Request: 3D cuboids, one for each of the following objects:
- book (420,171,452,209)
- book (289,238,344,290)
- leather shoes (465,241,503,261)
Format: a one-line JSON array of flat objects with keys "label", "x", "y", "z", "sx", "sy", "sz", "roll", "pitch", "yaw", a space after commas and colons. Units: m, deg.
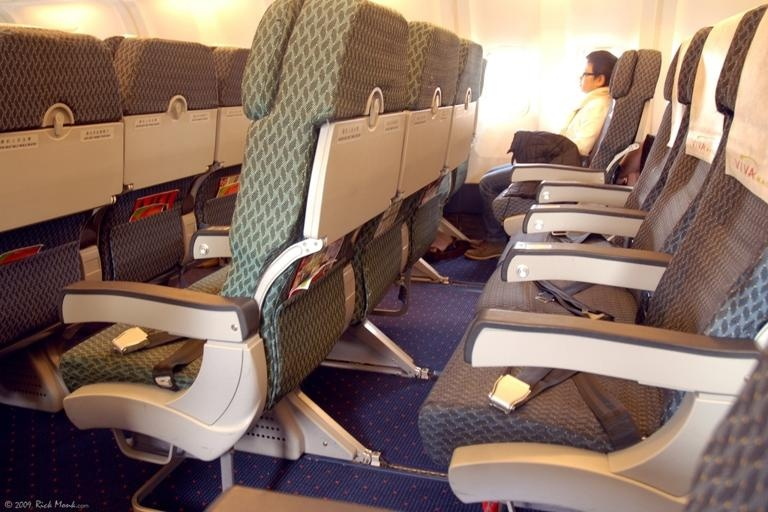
[{"label": "book", "x": 0.256, "y": -0.332, "z": 2.564, "sx": 0.032, "sy": 0.106, "sz": 0.265, "roll": 32, "pitch": 27, "yaw": 14}, {"label": "book", "x": -0.187, "y": 0.016, "z": 1.518, "sx": 0.089, "sy": 0.063, "sz": 0.263, "roll": -38, "pitch": 1, "yaw": 16}, {"label": "leather shoes", "x": 0.759, "y": -0.041, "z": 3.906, "sx": 0.336, "sy": 0.160, "sz": 0.128, "roll": -1, "pitch": 17, "yaw": -4}]
